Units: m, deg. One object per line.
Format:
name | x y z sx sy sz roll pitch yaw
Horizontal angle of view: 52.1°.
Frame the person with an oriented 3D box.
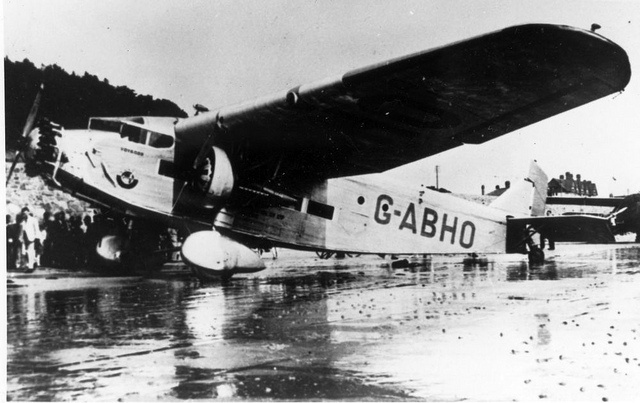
person | -2.623 0.375 6.429 0.897 0.615 0.149 -1 -10 -5
